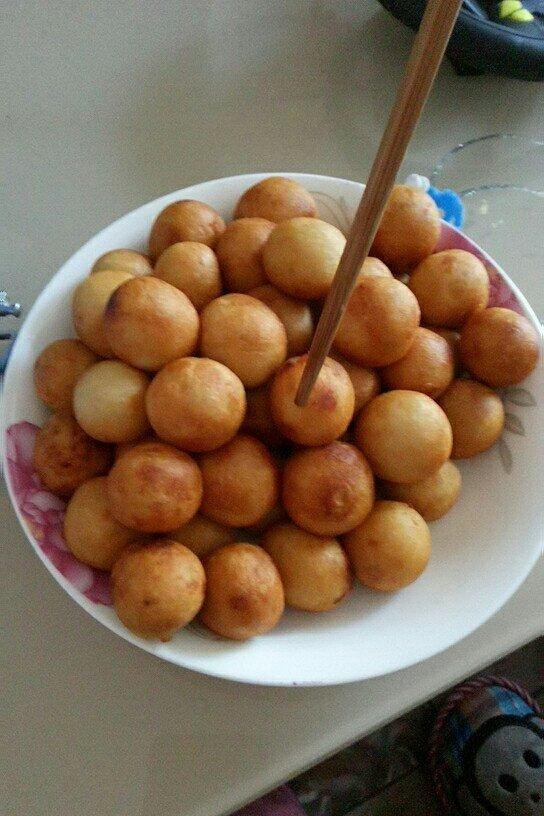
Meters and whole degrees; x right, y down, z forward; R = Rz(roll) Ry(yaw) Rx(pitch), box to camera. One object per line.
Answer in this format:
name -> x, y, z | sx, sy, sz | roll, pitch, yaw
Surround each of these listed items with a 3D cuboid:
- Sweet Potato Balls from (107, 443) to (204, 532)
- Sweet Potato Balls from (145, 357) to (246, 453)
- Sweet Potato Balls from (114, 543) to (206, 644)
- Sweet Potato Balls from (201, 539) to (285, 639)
Sweet Potato Balls -> -0.094, 0.052, 0.569 | 0.078, 0.039, 0.069 | 8, 52, -31
Sweet Potato Balls -> -0.056, -0.003, 0.571 | 0.071, 0.050, 0.055 | 2, 56, -4
Sweet Potato Balls -> -0.080, 0.128, 0.560 | 0.064, 0.044, 0.062 | 3, 56, -4
Sweet Potato Balls -> -0.021, 0.132, 0.579 | 0.058, 0.050, 0.061 | 3, 56, -4
